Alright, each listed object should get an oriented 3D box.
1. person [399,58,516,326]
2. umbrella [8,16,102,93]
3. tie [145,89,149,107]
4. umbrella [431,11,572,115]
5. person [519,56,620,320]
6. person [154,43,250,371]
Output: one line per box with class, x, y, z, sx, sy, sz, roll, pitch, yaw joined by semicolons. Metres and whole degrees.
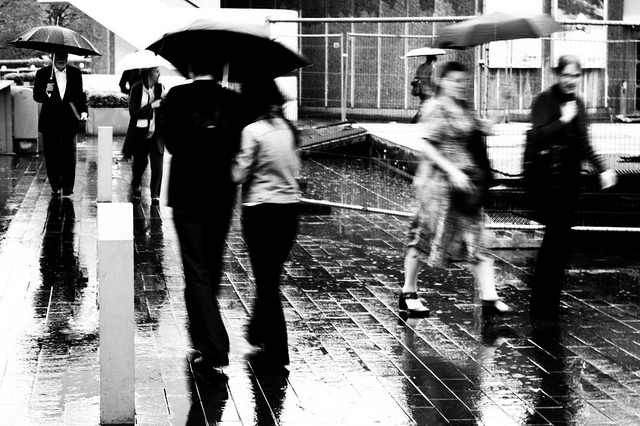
person;1.357;-0.175;7.978;1.012;2.585;0.549;3;13;6
umbrella;-4.945;-3.049;14.739;1.537;1.267;1.486;6;-5;-2
tie;-2.896;-1.958;13.432;0.062;0.212;0.046;-3;14;-18
umbrella;2.134;-1.962;9.905;0.940;0.741;0.864;-15;20;-35
person;2.485;-0.247;8.213;0.818;2.645;0.521;2;13;4
person;-1.013;-0.058;6.922;0.712;2.734;0.732;2;13;3
